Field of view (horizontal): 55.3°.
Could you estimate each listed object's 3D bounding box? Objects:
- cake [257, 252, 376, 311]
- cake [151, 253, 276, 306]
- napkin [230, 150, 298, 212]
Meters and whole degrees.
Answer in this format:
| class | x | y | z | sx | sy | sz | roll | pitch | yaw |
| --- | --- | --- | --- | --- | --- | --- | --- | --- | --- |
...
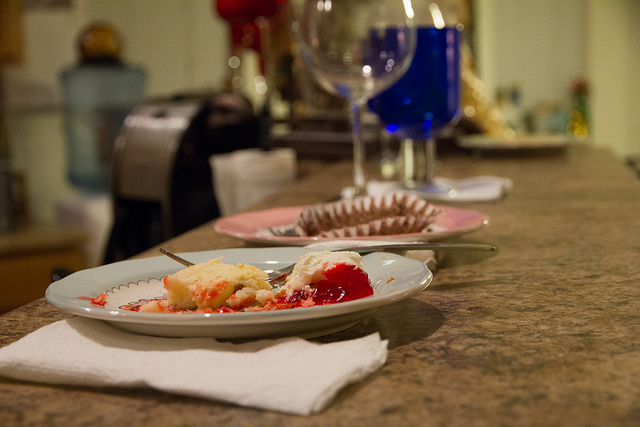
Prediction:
| class | x | y | z | sx | sy | sz | roll | pitch | yaw |
| --- | --- | --- | --- | --- | --- | --- | --- | --- | --- |
| cake | 0.004 | 0.044 | 0.456 | 0.063 | 0.021 | 0.047 | -6 | 5 | -9 |
| cake | -0.078 | 0.055 | 0.471 | 0.067 | 0.024 | 0.067 | -9 | 7 | -32 |
| napkin | -0.109 | -0.072 | 1.317 | 0.131 | 0.160 | 0.121 | -1 | 9 | 4 |
